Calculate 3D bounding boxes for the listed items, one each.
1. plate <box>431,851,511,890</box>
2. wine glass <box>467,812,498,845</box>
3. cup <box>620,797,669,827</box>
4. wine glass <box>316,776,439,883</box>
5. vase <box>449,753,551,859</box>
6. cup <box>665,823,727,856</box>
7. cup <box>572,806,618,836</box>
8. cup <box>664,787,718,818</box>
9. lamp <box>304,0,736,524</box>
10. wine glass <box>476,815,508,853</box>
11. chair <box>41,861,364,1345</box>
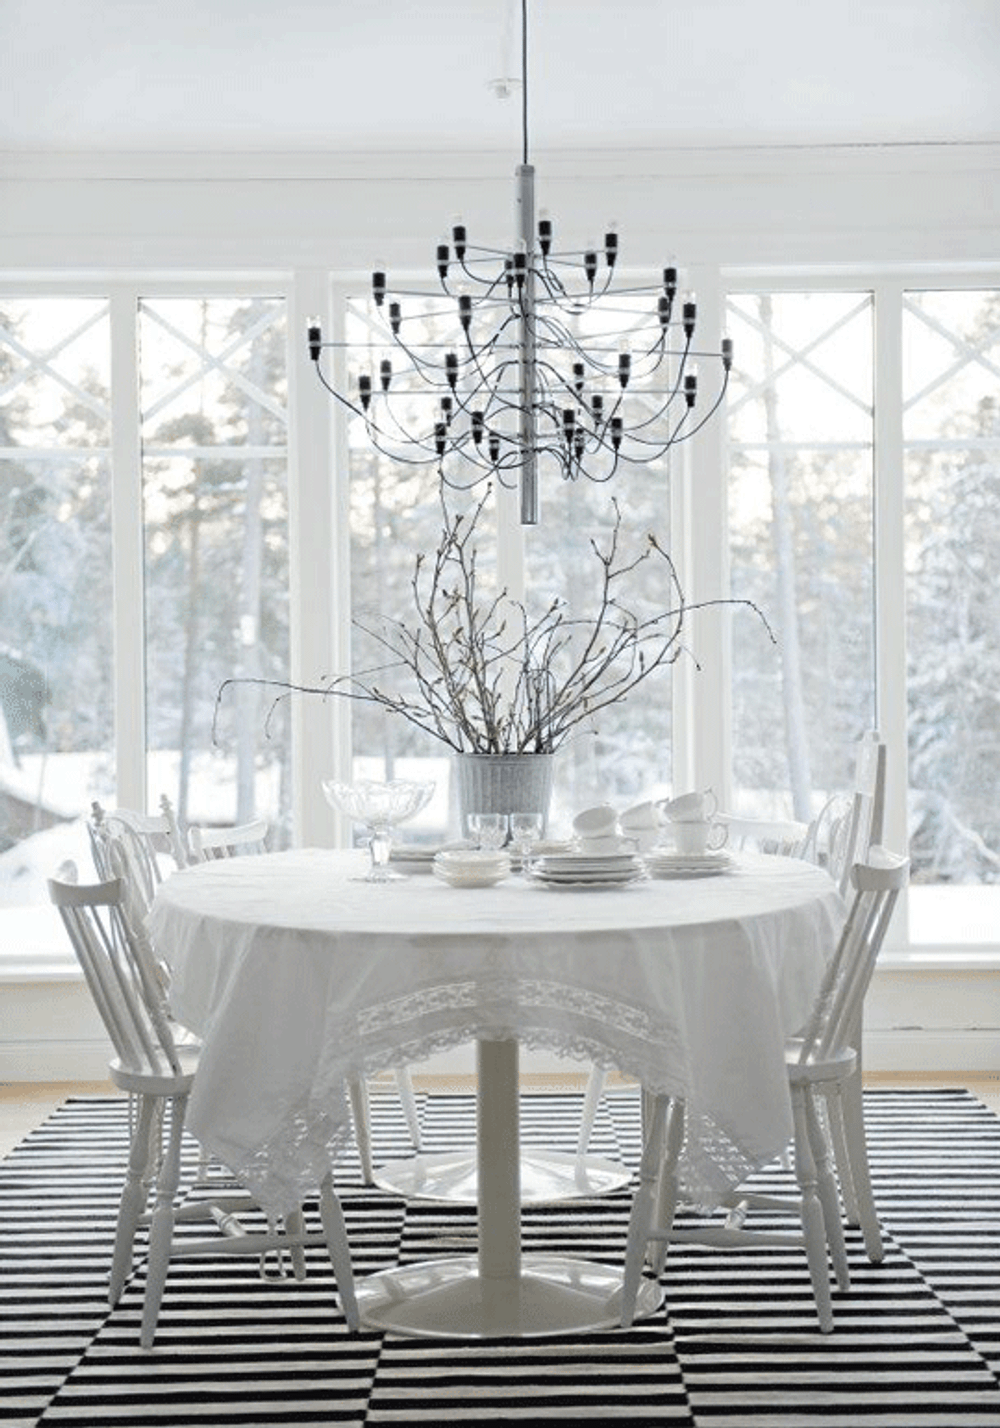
[{"bbox_3d":[-0.056,0.266,3.172,0.076,0.036,0.078,1,2,34],"label":"plate"},{"bbox_3d":[-0.036,0.209,3.299,0.052,0.046,0.055,-2,-1,-44],"label":"wine glass"},{"bbox_3d":[0.275,0.191,3.528,0.063,0.047,0.123,1,5,14],"label":"cup"},{"bbox_3d":[-0.220,0.206,3.326,0.192,0.162,0.186,1,-5,-18],"label":"wine glass"},{"bbox_3d":[-0.004,0.173,3.381,0.174,0.186,0.190,1,-7,-7],"label":"vase"},{"bbox_3d":[0.376,0.229,3.397,0.094,0.072,0.065,0,-2,3],"label":"cup"},{"bbox_3d":[0.174,0.184,3.271,0.058,0.044,0.060,-1,5,0],"label":"cup"},{"bbox_3d":[0.415,0.187,3.875,0.130,0.067,0.086,-8,-5,-1],"label":"cup"},{"bbox_3d":[-0.014,-1.009,4.205,1.101,1.164,1.817,0,4,7],"label":"lamp"},{"bbox_3d":[-0.013,0.215,3.272,0.057,0.068,0.059,0,1,2],"label":"wine glass"},{"bbox_3d":[-0.502,0.661,3.219,0.504,0.769,0.477,-2,0,5],"label":"chair"}]
